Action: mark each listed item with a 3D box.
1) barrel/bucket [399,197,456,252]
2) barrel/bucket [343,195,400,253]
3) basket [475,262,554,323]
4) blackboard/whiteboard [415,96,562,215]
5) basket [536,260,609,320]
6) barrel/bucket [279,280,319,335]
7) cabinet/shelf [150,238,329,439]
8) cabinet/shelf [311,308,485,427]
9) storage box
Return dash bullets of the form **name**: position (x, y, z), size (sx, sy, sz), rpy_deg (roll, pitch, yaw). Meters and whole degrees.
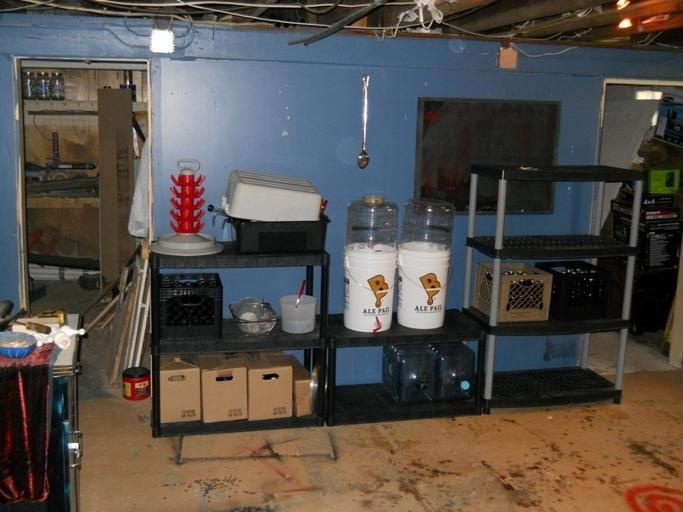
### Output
- **barrel/bucket**: position (0.771, -0.251, 5.447), size (0.442, 0.426, 0.433), rpy_deg (0, 9, 0)
- **barrel/bucket**: position (0.276, -0.266, 5.311), size (0.595, 0.427, 0.549), rpy_deg (1, 7, 0)
- **basket**: position (1.397, 0.256, 5.213), size (0.555, 0.405, 0.514), rpy_deg (1, 16, -10)
- **blackboard/whiteboard**: position (1.328, -1.110, 5.489), size (1.155, 0.771, 0.569), rpy_deg (6, 39, 14)
- **basket**: position (1.942, 0.289, 5.233), size (0.513, 0.317, 0.476), rpy_deg (0, 12, 3)
- **barrel/bucket**: position (-0.318, 0.404, 4.772), size (0.291, 0.320, 0.352), rpy_deg (1, 4, 3)
- **cabinet/shelf**: position (-0.766, 0.645, 4.616), size (1.637, 1.326, 0.634), rpy_deg (0, 9, -9)
- **cabinet/shelf**: position (0.430, 0.956, 5.186), size (1.294, 0.599, 0.860), rpy_deg (-1, 13, -6)
- **storage box**: position (-0.775, 1.004, 4.663), size (0.729, 0.250, 0.671), rpy_deg (0, 7, -6)
